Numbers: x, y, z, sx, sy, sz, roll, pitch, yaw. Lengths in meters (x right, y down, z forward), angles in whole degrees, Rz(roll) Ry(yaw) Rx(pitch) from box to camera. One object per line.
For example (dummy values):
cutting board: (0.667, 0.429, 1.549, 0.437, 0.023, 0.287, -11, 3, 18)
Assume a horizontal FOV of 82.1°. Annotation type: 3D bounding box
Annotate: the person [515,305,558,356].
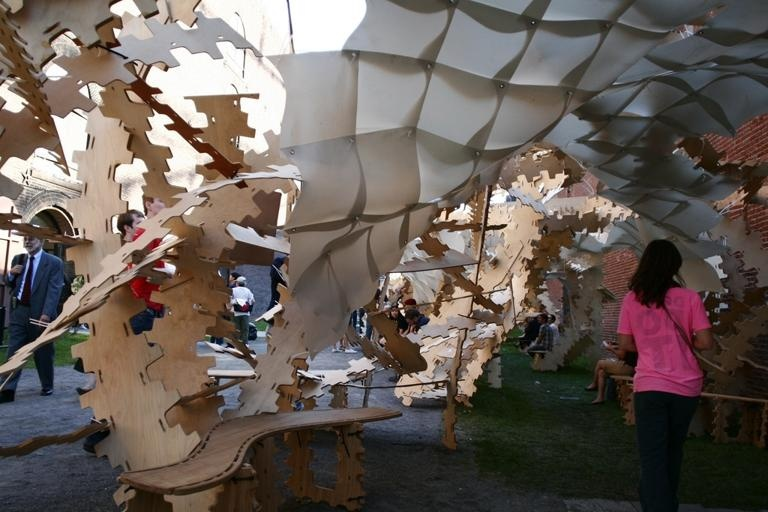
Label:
person: (4.636, 2.174, 13.086, 0.911, 1.348, 1.562, 2, -11, -1)
